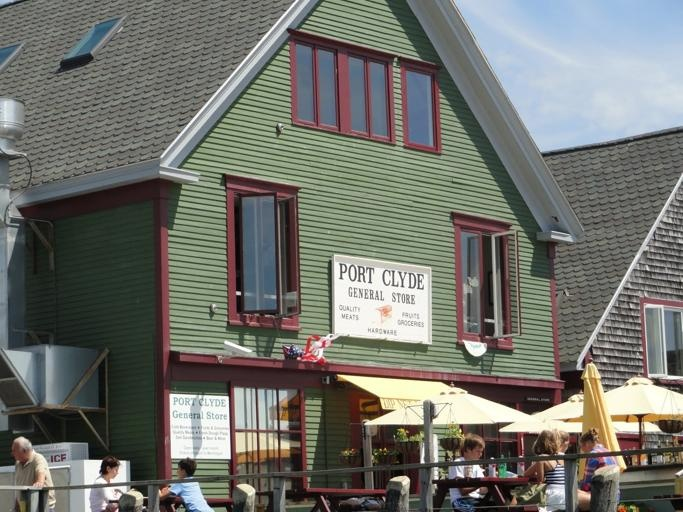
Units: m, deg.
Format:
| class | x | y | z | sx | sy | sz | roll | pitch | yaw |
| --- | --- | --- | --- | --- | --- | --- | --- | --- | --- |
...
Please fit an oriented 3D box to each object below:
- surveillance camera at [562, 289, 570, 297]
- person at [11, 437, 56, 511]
| class | x | y | z | sx | sy | sz | roll | pitch | yaw |
| --- | --- | --- | --- | --- | --- | --- | --- | --- | --- |
| surveillance camera | 5.149 | 0.796 | 38.639 | 0.157 | 0.061 | 0.202 | 2 | -12 | -2 |
| person | -5.202 | 3.640 | 28.102 | 0.662 | 1.263 | 1.329 | 0 | -16 | -10 |
